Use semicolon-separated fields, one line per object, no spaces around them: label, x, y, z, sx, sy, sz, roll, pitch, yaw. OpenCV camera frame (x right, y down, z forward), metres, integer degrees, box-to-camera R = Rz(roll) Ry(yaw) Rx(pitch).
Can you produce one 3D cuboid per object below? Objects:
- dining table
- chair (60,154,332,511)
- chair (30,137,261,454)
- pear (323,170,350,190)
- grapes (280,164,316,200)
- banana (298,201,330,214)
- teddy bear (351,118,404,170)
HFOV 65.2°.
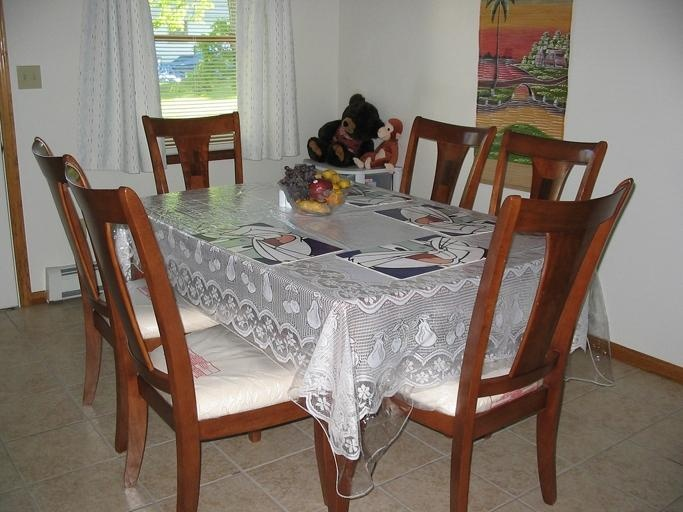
dining table;0.114;0.050;2.343;1.320;0.386;1.859;22;22;35
chair;-0.502;0.011;2.363;1.156;1.675;0.945;-15;30;-32
chair;-0.715;0.233;2.225;0.766;1.220;0.679;-11;36;-44
pear;-0.008;-0.318;2.243;0.114;0.053;0.069;39;22;13
grapes;-0.196;-0.309;2.203;0.066;0.133;0.144;17;55;41
banana;-0.116;-0.189;2.219;0.116;0.041;0.058;6;-12;-4
teddy bear;0.270;-0.802;3.841;0.327;0.355;0.267;2;10;-6
